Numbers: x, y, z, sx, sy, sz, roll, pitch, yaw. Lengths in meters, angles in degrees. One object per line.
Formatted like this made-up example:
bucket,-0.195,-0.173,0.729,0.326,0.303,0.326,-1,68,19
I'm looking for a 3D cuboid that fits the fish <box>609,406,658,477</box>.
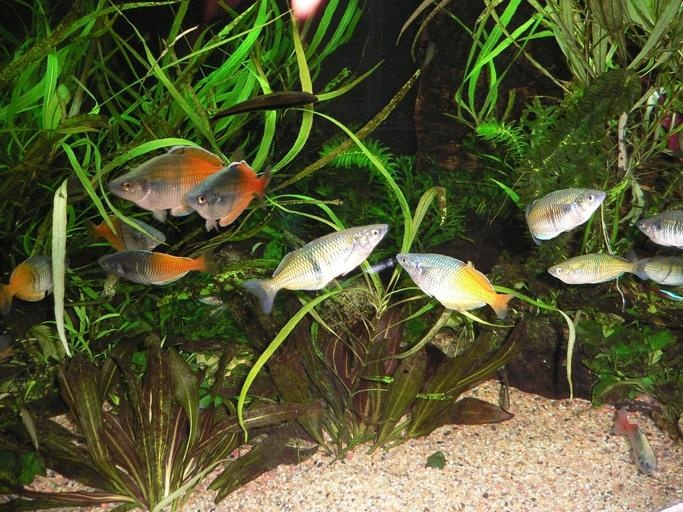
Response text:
fish,1.757,1.068,3.848,0.106,0.194,0.493,-2,36,-12
